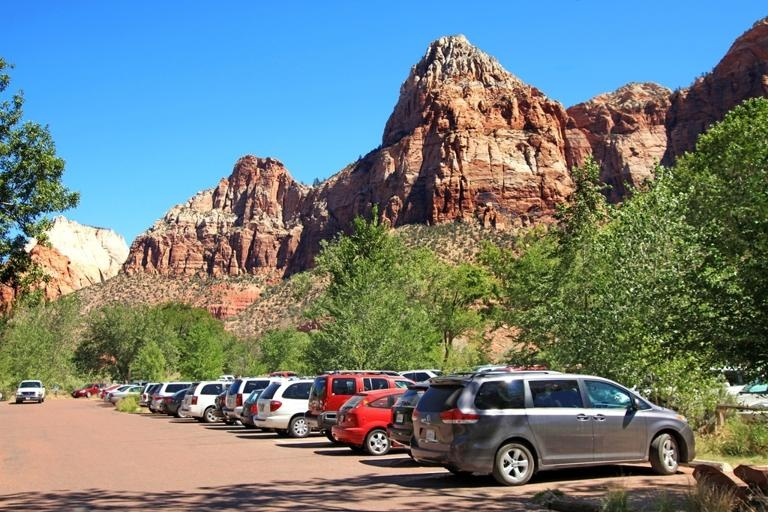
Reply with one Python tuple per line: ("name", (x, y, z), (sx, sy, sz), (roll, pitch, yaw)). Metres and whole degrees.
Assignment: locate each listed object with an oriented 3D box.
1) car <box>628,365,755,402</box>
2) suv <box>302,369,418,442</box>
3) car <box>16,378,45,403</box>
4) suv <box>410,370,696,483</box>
("car", (12.863, 5.343, 35.070), (3.275, 1.619, 3.416), (-11, 0, -39))
("suv", (-0.915, 5.637, 32.839), (4.161, 1.958, 2.222), (-1, -5, -18))
("car", (-28.085, 10.834, 67.942), (1.419, 1.181, 2.856), (2, -14, -17))
("suv", (5.125, 5.254, 27.211), (7.199, 2.620, 3.669), (-2, -6, -14))
